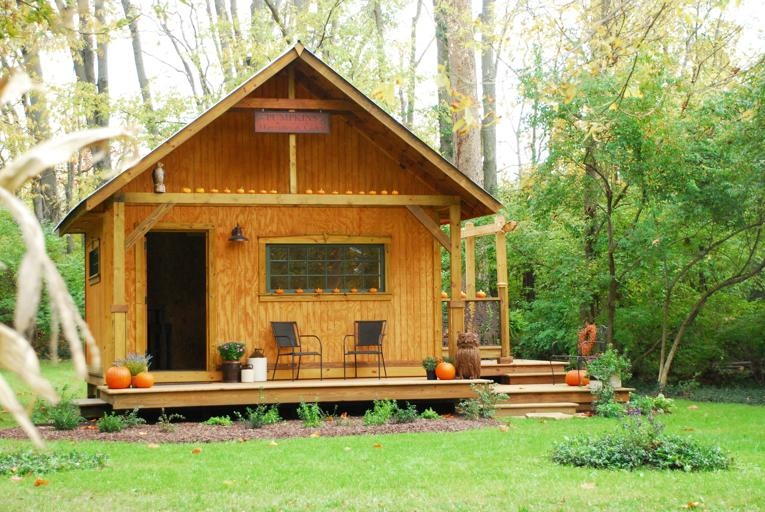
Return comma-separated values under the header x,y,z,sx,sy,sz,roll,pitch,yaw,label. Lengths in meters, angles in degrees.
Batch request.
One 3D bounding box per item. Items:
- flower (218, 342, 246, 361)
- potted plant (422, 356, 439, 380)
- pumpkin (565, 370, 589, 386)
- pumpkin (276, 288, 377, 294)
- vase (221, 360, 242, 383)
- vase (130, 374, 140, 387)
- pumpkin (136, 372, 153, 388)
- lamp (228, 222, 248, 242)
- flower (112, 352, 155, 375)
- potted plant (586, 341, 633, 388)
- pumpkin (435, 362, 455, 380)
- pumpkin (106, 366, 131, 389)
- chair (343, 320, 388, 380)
x,y,z,sx,sy,sz,roll,pitch,yaw,label
-2.837,1.800,13.307,0.378,0.249,0.361,2,-3,-11,flower
0.942,2.153,13.352,0.368,0.399,0.370,-1,-7,15,potted plant
3.931,2.442,14.199,0.348,0.295,0.339,3,-7,-40,pumpkin
-1.132,0.722,14.006,2.008,0.127,0.223,1,-2,-5,pumpkin
-2.849,2.182,13.288,0.401,0.369,0.396,1,-3,-15,vase
-4.317,2.195,12.299,0.191,0.205,0.190,1,-2,-9,vase
-4.182,2.182,12.369,0.273,0.242,0.264,1,1,-15,pumpkin
-2.786,-0.431,13.611,0.355,0.382,0.375,1,-2,-12,lamp
-4.391,1.899,12.420,0.441,0.292,0.448,-1,-2,12,flower
4.698,2.262,14.324,1.149,0.826,1.163,-6,-16,38,potted plant
1.166,2.148,13.031,0.310,0.279,0.308,0,-7,2,pumpkin
-4.521,2.117,12.093,0.390,0.350,0.375,1,3,-24,pumpkin
-0.350,1.843,13.772,0.865,1.121,0.611,0,-1,-2,chair
